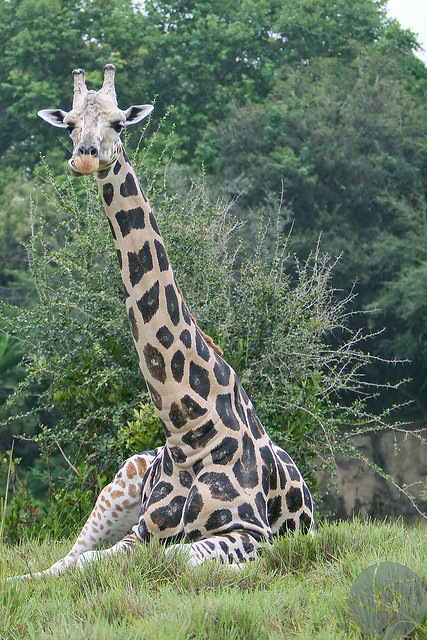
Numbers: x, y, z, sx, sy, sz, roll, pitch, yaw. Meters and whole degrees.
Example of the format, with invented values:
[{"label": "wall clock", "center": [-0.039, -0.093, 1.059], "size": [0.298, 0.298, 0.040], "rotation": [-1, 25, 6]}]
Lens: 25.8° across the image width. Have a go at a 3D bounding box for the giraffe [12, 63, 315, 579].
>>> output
[{"label": "giraffe", "center": [-0.118, 0.048, 3.848], "size": [1.047, 2.118, 0.959], "rotation": [2, 3, 2]}]
